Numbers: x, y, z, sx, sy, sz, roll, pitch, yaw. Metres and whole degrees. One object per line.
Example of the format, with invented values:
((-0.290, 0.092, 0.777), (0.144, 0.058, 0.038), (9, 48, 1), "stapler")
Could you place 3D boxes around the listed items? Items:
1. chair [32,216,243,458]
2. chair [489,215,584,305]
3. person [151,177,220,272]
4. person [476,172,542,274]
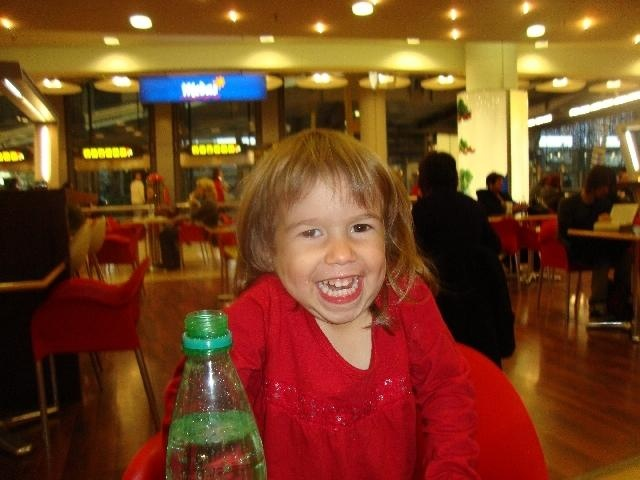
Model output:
((-1.127, 0.411, 3.197), (0.810, 1.470, 0.903), (2, -1, -9), "chair")
((2.148, 0.190, 5.070), (0.710, 1.160, 0.859), (-1, 2, 29), "chair")
((-1.543, -0.177, 5.802), (0.880, 1.268, 0.851), (0, 1, -2), "person")
((2.197, -0.276, 6.591), (0.681, 1.155, 1.128), (7, 12, 7), "person")
